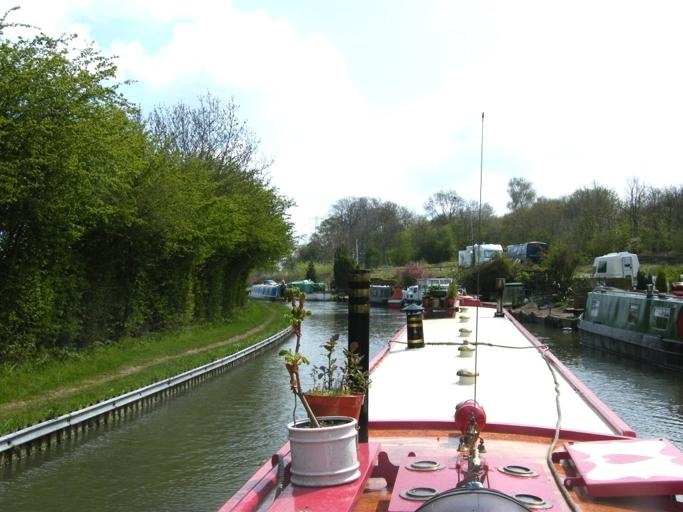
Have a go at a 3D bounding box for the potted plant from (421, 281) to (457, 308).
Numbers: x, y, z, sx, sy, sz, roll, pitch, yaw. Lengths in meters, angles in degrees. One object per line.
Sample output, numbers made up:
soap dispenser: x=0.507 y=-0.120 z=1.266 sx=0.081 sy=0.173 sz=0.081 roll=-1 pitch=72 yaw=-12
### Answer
potted plant: x=4.503 y=1.810 z=30.122 sx=1.284 sy=0.678 sz=1.883 roll=0 pitch=4 yaw=7

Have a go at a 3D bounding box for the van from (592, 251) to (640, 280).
van: x=17.953 y=0.592 z=42.808 sx=1.567 sy=1.701 sz=2.556 roll=-1 pitch=5 yaw=-4

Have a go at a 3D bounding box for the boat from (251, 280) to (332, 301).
boat: x=-4.746 y=3.276 z=65.693 sx=4.505 sy=1.355 sz=2.842 roll=-2 pitch=3 yaw=-21

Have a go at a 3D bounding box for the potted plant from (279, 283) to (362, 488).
potted plant: x=-0.315 y=1.640 z=8.832 sx=0.969 sy=2.392 sz=1.772 roll=0 pitch=3 yaw=-6
